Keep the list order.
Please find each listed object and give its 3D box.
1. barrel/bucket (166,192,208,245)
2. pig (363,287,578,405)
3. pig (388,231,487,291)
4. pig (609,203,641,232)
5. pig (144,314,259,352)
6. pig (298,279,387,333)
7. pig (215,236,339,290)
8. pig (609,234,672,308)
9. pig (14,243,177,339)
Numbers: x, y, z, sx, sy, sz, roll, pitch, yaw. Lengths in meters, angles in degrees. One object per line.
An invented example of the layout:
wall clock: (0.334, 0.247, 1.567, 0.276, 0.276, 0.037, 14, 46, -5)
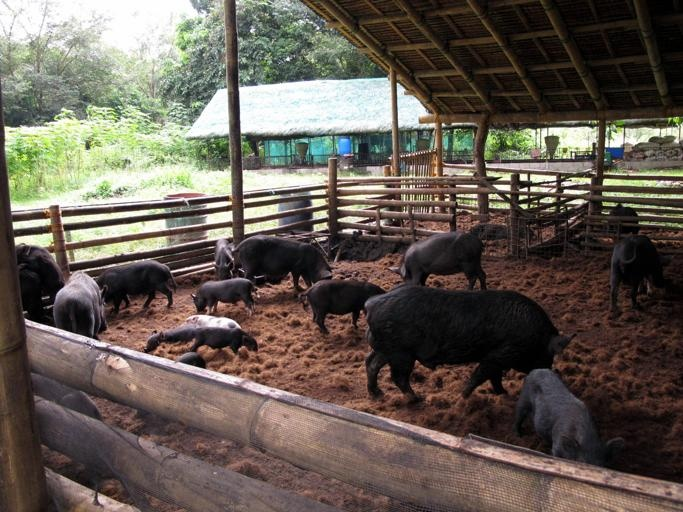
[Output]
barrel/bucket: (-2.267, -0.514, 8.170, 0.630, 0.922, 0.615, 1, 18, 0)
pig: (0.924, 0.737, 4.344, 1.489, 0.943, 0.322, 4, 13, 7)
pig: (1.188, 0.032, 6.574, 1.044, 0.629, 0.269, 4, 13, 7)
pig: (4.079, -0.565, 7.957, 0.393, 0.519, 0.572, -2, -8, 35)
pig: (-1.344, 0.785, 5.434, 1.070, 0.317, 0.391, 4, 14, 9)
pig: (0.185, 0.466, 5.702, 1.208, 0.632, 0.369, -2, 8, 1)
pig: (-0.727, 0.075, 7.413, 1.974, 1.029, 0.604, 2, 8, -9)
pig: (3.142, 0.148, 5.878, 0.992, 0.724, 0.403, -11, 18, -43)
pig: (-2.712, 0.402, 5.566, 0.829, 0.919, 1.443, -6, 16, -30)
